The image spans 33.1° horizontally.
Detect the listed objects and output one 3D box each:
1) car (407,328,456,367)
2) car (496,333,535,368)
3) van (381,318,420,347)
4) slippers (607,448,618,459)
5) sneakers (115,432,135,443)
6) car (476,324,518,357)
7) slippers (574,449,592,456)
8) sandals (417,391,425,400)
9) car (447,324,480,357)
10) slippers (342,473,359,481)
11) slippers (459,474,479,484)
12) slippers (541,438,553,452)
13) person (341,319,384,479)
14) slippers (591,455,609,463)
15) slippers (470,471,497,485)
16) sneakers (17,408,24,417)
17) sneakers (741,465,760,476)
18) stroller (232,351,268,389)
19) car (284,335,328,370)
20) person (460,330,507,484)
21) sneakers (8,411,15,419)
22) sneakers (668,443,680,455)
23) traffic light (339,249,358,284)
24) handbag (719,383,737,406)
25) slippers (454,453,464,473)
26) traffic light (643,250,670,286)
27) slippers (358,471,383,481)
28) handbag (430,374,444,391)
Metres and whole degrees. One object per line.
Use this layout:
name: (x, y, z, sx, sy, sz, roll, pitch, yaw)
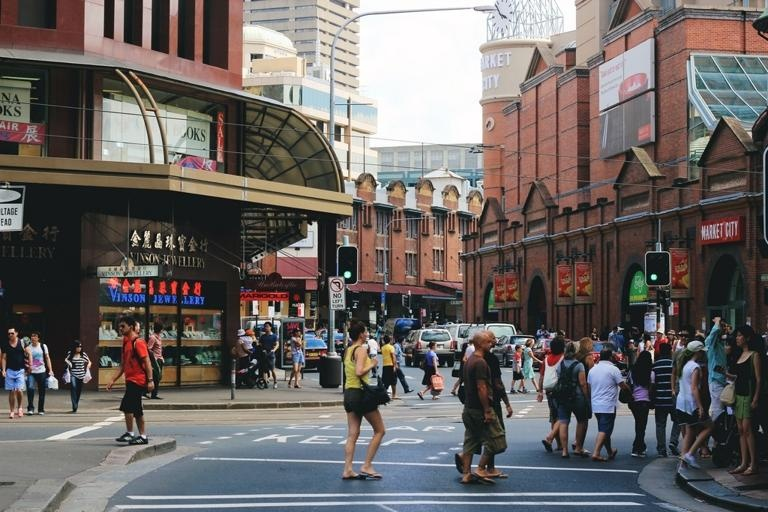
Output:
car: (2.259, 4.342, 61.900, 1.339, 1.219, 2.737, 0, 2, -6)
car: (5.939, 4.477, 60.223, 1.393, 1.163, 3.139, 0, 2, 2)
van: (1.114, 4.694, 78.599, 1.406, 1.305, 2.372, 1, 5, -15)
slippers: (5.747, 4.946, 32.224, 0.126, 0.272, 0.381, 2, 12, 21)
sneakers: (-6.535, 4.605, 32.586, 0.526, 0.231, 0.227, 1, -1, 27)
car: (5.368, 4.237, 62.099, 2.047, 2.014, 3.361, 0, 5, -3)
slippers: (4.976, 4.943, 32.195, 0.448, 0.190, 0.163, 0, 5, -4)
sandals: (1.328, 4.976, 45.097, 0.124, 0.302, 0.100, -28, 20, -12)
car: (3.914, 4.098, 62.612, 1.405, 1.417, 2.603, -1, 3, 1)
slippers: (-0.754, 5.097, 29.597, 0.392, 0.155, 0.141, -8, 5, -21)
slippers: (1.915, 5.131, 29.446, 0.477, 0.204, 0.160, -4, 4, -27)
slippers: (4.152, 4.775, 32.649, 0.147, 0.409, 0.144, -12, 1, -25)
person: (-0.522, 3.362, 29.998, 0.945, 3.646, 1.367, -1, -5, -2)
slippers: (5.321, 5.026, 31.802, 0.321, 0.115, 0.169, -1, 2, -1)
slippers: (2.283, 5.089, 29.417, 0.581, 0.162, 0.231, 3, 3, 32)
sneakers: (-10.809, 4.699, 38.363, 0.140, 0.159, 0.396, 0, -6, -13)
sneakers: (8.516, 5.023, 29.938, 0.426, 0.132, 0.157, 1, -5, -8)
stroller: (-4.803, 4.217, 46.729, 1.087, 1.259, 1.352, 0, -6, -6)
car: (-3.311, 4.474, 58.867, 1.292, 1.069, 3.064, 0, 2, 2)
person: (2.264, 3.492, 29.834, 1.005, 3.479, 0.873, -1, -5, 4)
sneakers: (-10.965, 4.735, 38.000, 0.108, 0.130, 0.322, 1, -11, -8)
sneakers: (7.381, 4.952, 32.813, 0.136, 0.150, 0.385, -2, -42, 49)
traffic light: (-1.266, 0.314, 43.677, 0.667, 1.285, 0.726, -1, -6, 5)
handbag: (8.033, 3.269, 30.263, 0.377, 0.780, 0.779, 5, -3, 22)
slippers: (1.760, 4.823, 29.895, 0.154, 0.461, 0.193, -5, 0, 19)
traffic light: (9.386, 0.443, 44.131, 0.822, 1.136, 0.683, -2, -6, 7)
slippers: (-0.307, 5.070, 29.570, 0.545, 0.229, 0.185, 0, -1, -10)
handbag: (1.849, 4.453, 45.047, 0.375, 0.581, 0.619, -2, -6, 10)
